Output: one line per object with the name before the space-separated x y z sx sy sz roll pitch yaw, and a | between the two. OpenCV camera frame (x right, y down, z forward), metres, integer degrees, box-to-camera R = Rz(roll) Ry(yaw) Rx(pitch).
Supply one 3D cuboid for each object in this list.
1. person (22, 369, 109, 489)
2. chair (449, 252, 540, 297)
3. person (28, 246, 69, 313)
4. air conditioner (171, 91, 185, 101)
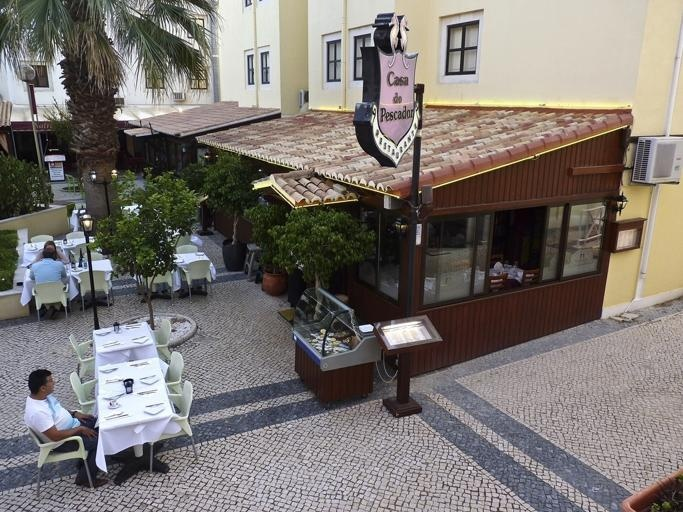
person | -4.286 2.775 7.914 1.147 1.881 1.012 -10 28 -28
chair | 3.361 0.403 11.243 1.482 0.583 0.976 -15 23 -34
person | -7.133 0.312 12.334 0.777 1.038 0.890 -15 22 -31
air conditioner | -11.037 -10.871 34.648 0.812 0.632 0.447 -8 19 -15
